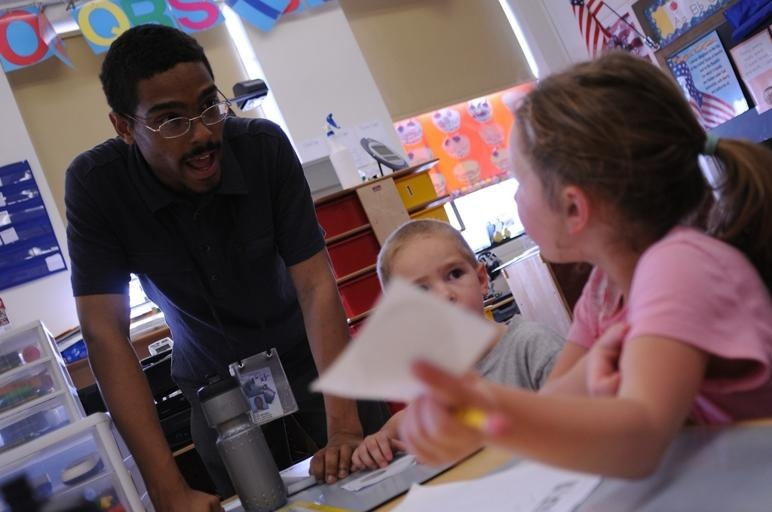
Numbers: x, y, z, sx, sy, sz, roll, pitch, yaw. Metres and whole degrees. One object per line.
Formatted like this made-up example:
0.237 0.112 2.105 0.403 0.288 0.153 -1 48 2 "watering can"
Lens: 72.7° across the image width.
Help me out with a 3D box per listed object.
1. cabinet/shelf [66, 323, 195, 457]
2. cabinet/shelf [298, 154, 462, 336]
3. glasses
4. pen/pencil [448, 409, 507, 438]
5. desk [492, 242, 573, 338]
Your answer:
-1.239 0.748 2.905 0.544 0.805 0.276 -9 -3 2 "cabinet/shelf"
-0.064 -0.367 3.537 0.881 0.369 0.882 -30 -25 -5 "cabinet/shelf"
-0.563 -0.369 1.422 0.248 0.136 0.148 -21 5 -24 "glasses"
0.102 0.179 0.571 0.021 0.021 0.062 -23 -1 -8 "pen/pencil"
1.088 0.295 3.532 0.347 0.599 0.348 -29 -6 28 "desk"
